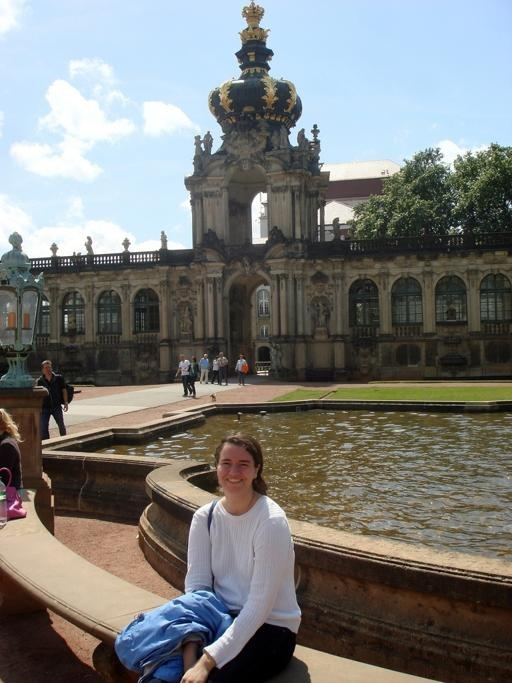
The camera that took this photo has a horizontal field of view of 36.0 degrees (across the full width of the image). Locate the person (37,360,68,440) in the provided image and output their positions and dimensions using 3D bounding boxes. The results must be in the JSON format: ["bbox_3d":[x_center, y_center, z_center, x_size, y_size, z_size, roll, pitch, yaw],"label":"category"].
[{"bbox_3d":[-3.357,0.993,13.024,0.453,1.336,1.741,0,-2,-14],"label":"person"}]
